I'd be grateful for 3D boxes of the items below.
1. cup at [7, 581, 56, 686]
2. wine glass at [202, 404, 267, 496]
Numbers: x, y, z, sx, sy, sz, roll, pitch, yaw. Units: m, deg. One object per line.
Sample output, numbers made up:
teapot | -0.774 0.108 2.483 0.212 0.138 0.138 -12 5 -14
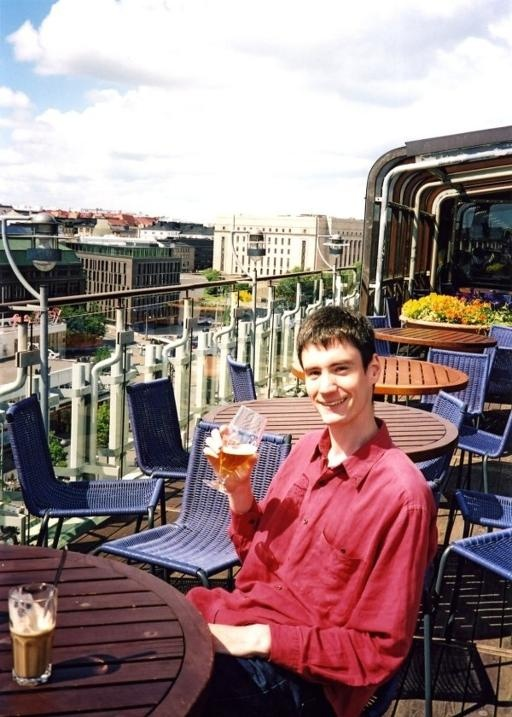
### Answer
cup | -0.312 0.383 0.821 0.068 0.125 0.066 -5 6 0
wine glass | -0.065 0.205 1.356 0.116 0.190 0.118 14 -1 -43
